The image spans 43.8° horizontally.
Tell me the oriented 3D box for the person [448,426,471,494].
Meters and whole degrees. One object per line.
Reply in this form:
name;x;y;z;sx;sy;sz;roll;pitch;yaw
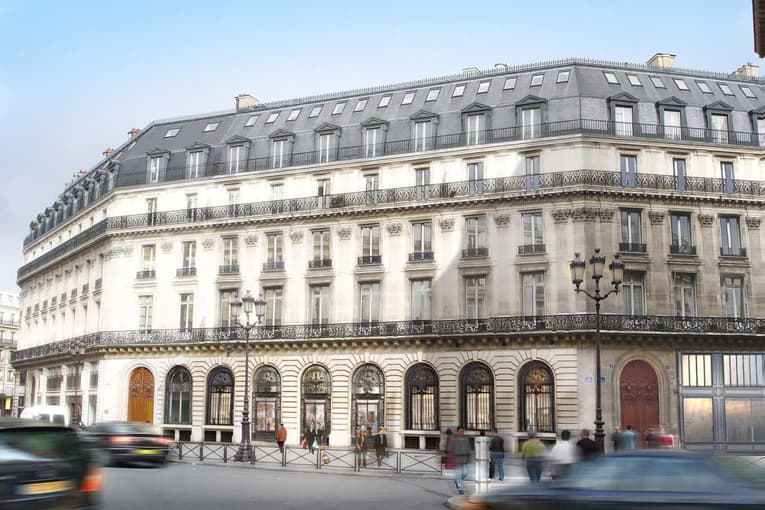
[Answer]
person;3.145;8.489;38.623;0.875;2.349;1.151;-3;-17;3
